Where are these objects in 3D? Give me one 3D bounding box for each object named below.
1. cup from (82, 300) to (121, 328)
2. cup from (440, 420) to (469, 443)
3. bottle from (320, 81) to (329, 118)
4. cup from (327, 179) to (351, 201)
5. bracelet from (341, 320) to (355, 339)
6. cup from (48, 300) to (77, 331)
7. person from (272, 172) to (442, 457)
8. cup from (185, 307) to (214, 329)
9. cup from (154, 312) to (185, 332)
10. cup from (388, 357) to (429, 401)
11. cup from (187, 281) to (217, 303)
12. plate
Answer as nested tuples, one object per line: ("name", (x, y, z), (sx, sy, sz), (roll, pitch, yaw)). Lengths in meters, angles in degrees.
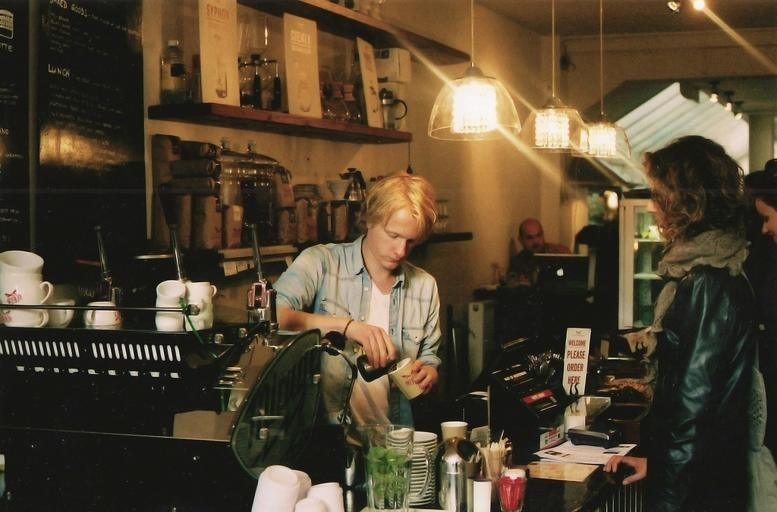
("cup", (-1.080, 0.219, 2.887), (0.122, 0.081, 0.097), (-1, 0, 41))
("cup", (0.276, 0.719, 3.125), (0.092, 0.062, 0.069), (2, -8, -13))
("bottle", (-0.380, -0.961, 4.673), (0.064, 0.168, 0.172), (1, 1, 4))
("cup", (-0.338, -0.436, 4.958), (0.144, 0.111, 0.144), (5, 3, 0))
("bracelet", (-0.173, 0.322, 3.373), (0.017, 0.061, 0.064), (28, -7, 18))
("cup", (-1.258, 0.224, 2.959), (0.088, 0.090, 0.126), (1, 5, -23))
("person", (-0.142, 0.206, 3.656), (0.778, 1.253, 1.145), (0, -1, 3))
("cup", (-0.685, 0.219, 2.788), (0.098, 0.099, 0.163), (1, -2, -13))
("cup", (-0.809, 0.245, 2.837), (0.085, 0.078, 0.083), (-1, 2, 0))
("cup", (0.124, 0.506, 3.306), (0.121, 0.167, 0.181), (12, 25, 38))
("cup", (-0.739, 0.146, 3.030), (0.102, 0.072, 0.073), (3, -6, -14))
("plate", (0.121, 0.836, 3.010), (0.207, 0.273, 0.322), (0, -10, -1))
